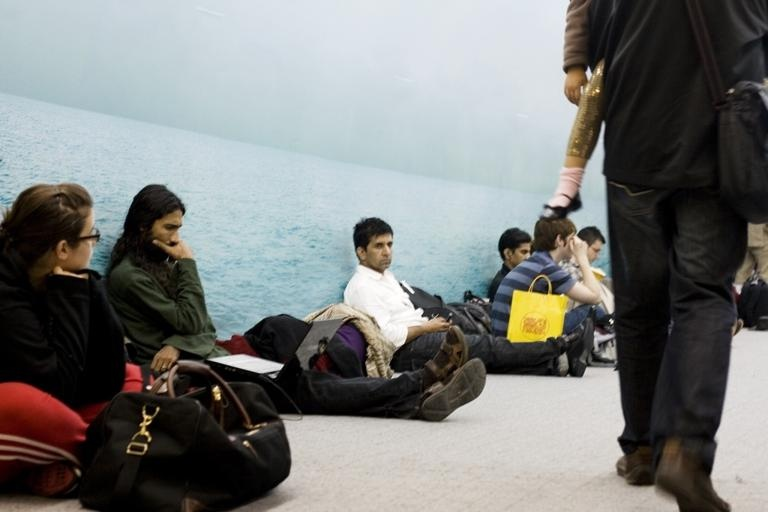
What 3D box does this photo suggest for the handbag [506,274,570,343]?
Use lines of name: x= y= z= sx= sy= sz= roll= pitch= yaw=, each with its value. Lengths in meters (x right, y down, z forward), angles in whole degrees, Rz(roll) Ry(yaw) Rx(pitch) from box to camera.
handbag: x=1.166 y=0.396 z=3.873 sx=0.403 sy=0.522 sz=0.175 roll=18 pitch=-4 yaw=7

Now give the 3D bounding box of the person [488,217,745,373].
person: x=1.559 y=0.165 z=4.576 sx=1.404 sy=1.083 sz=1.001 roll=-13 pitch=11 yaw=-9

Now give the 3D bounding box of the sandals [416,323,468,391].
sandals: x=0.302 y=0.512 z=2.684 sx=0.199 sy=0.394 sz=0.153 roll=3 pitch=23 yaw=-44
